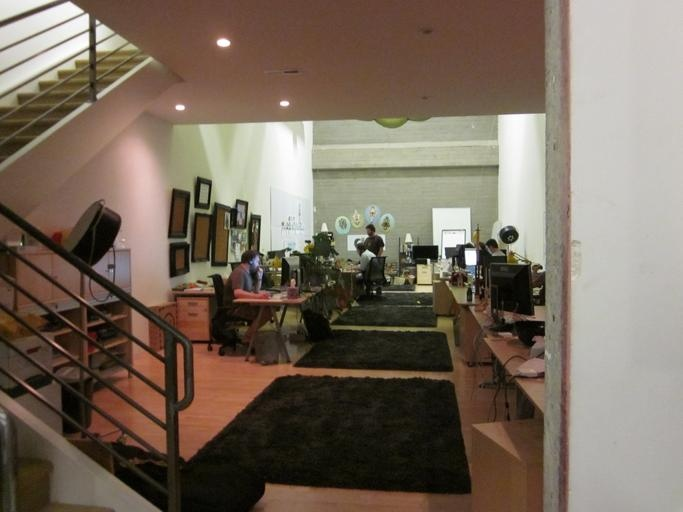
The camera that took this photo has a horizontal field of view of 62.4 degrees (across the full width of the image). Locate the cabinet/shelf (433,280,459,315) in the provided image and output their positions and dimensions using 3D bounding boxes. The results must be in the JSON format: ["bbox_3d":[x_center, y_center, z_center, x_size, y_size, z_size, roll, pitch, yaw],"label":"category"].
[{"bbox_3d":[1.696,0.736,9.163,0.470,0.669,0.918,0,4,6],"label":"cabinet/shelf"}]

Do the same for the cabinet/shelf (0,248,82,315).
[{"bbox_3d":[-2.253,0.181,4.174,0.213,0.515,0.535,0,3,12],"label":"cabinet/shelf"}]

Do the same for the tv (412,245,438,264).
[{"bbox_3d":[2.161,-0.071,14.454,0.706,0.520,0.403,2,8,18],"label":"tv"}]

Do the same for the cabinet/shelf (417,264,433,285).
[{"bbox_3d":[2.226,0.475,15.056,0.467,0.572,0.128,1,3,5],"label":"cabinet/shelf"}]

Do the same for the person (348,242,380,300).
[{"bbox_3d":[0.487,0.309,11.788,0.432,1.142,1.068,0,4,3],"label":"person"}]

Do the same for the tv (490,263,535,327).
[{"bbox_3d":[1.281,0.295,4.233,0.138,0.442,0.413,-6,7,-32],"label":"tv"}]

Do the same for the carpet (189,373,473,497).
[{"bbox_3d":[0.053,1.339,4.605,1.846,0.085,2.132,0,5,9],"label":"carpet"}]

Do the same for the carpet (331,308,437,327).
[{"bbox_3d":[0.796,0.994,9.382,1.559,0.073,1.983,0,5,11],"label":"carpet"}]

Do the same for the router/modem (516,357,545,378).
[{"bbox_3d":[1.029,0.616,3.091,0.116,0.043,0.127,-1,12,31],"label":"router/modem"}]

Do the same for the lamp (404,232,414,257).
[{"bbox_3d":[1.913,-0.326,15.847,0.210,0.607,0.738,0,4,6],"label":"lamp"}]

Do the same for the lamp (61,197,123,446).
[{"bbox_3d":[-1.872,0.453,4.178,0.397,1.742,1.371,-2,4,-27],"label":"lamp"}]
